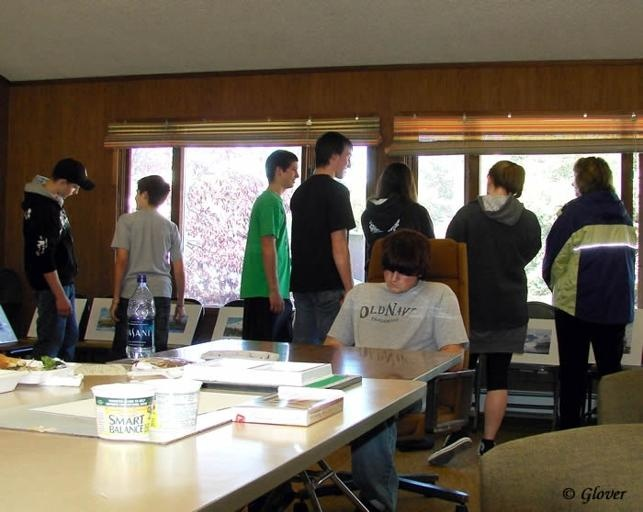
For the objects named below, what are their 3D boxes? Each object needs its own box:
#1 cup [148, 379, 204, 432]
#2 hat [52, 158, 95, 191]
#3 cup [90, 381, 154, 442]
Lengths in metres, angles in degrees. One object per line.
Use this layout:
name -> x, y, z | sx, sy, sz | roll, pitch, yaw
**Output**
cup -> -0.278, 0.294, 1.177 | 0.094, 0.082, 0.097 | 1, -14, 0
hat -> -1.557, -0.523, 3.897 | 0.290, 0.167, 0.205 | 11, 6, -28
cup -> -0.358, 0.280, 1.121 | 0.090, 0.072, 0.098 | -1, -9, 0
